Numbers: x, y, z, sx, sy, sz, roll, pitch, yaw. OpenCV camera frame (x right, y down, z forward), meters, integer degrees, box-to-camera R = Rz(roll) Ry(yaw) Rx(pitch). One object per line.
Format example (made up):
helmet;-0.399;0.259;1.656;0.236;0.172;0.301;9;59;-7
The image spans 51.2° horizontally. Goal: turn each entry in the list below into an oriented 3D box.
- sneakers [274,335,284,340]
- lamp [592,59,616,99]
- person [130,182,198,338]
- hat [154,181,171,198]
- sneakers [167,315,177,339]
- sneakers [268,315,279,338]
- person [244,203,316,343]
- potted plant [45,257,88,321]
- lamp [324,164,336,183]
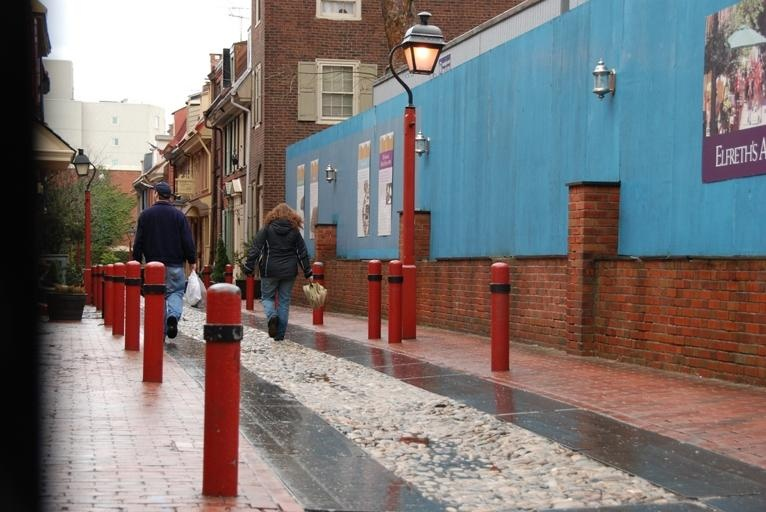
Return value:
sneakers;-1.690;1.319;12.937;0.100;0.074;0.128;-4;-8;21
lamp;3.092;-2.505;11.202;0.303;0.523;0.304;1;2;15
person;-3.271;0.085;11.968;0.874;2.437;1.148;-1;2;-16
hat;-3.410;-1.046;12.402;0.225;0.179;0.327;0;18;-20
sneakers;-3.117;1.053;11.757;0.126;0.400;0.152;1;18;-4
sneakers;-1.755;1.137;12.798;0.131;0.357;0.147;-3;12;-3
person;-1.720;0.242;13.216;1.014;2.246;1.126;0;2;7
potted plant;-6.901;0.726;17.422;1.154;1.588;1.169;3;-6;-24
lamp;-1.456;-2.284;21.945;0.222;0.483;0.682;-1;2;-17
